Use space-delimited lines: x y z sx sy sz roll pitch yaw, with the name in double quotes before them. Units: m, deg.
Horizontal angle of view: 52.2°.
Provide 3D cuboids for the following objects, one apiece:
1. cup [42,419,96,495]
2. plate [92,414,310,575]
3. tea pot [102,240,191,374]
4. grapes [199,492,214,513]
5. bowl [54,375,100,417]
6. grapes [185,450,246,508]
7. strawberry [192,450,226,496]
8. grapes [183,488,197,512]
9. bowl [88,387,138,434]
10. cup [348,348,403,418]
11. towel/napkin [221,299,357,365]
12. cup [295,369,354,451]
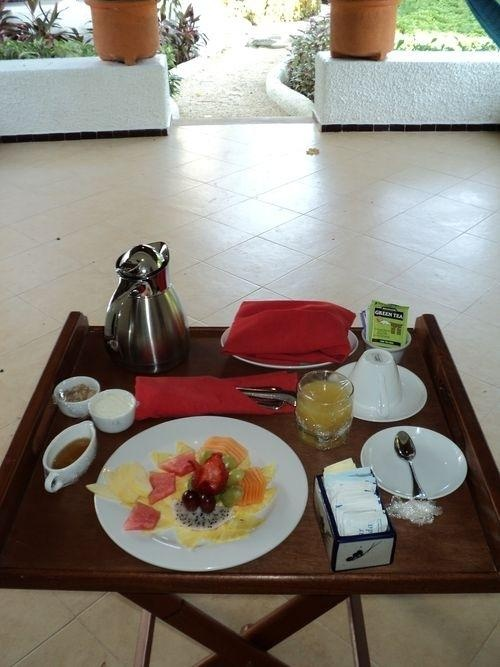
"cup" -0.254 0.178 0.711 0.070 0.046 0.117 1 35 7
"plate" -0.061 0.194 0.665 0.271 0.033 0.257 14 37 24
"tea pot" -0.192 -0.037 0.902 0.146 0.213 0.186 10 32 11
"grapes" -0.050 0.201 0.602 0.022 0.024 0.021 -6 37 -4
"bowl" -0.286 0.108 0.857 0.071 0.034 0.063 1 36 -2
"grapes" -0.046 0.175 0.618 0.049 0.028 0.063 31 61 14
"strawberry" -0.054 0.170 0.618 0.039 0.019 0.044 5 50 4
"grapes" -0.070 0.197 0.603 0.018 0.022 0.018 -3 1 -11
"bowl" -0.214 0.117 0.791 0.067 0.041 0.068 2 36 -1
"cup" 0.201 0.080 0.840 0.080 0.071 0.107 -1 40 7
"towel/napkin" 0.072 -0.006 0.949 0.167 0.048 0.162 4 29 8
"cup" 0.092 0.109 0.781 0.098 0.103 0.108 0 39 2
